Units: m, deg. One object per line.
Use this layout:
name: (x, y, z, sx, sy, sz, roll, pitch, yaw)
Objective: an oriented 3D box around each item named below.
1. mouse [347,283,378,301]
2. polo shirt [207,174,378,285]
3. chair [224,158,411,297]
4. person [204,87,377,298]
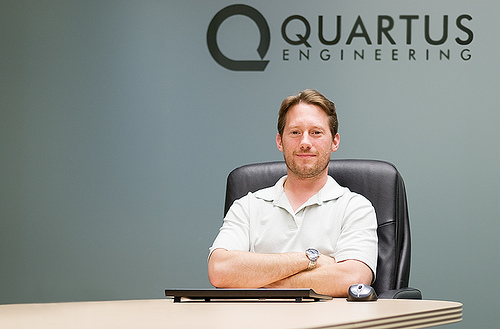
mouse: (0.494, 0.565, 2.164, 0.128, 0.068, 0.079, -1, -3, 17)
polo shirt: (0.307, 0.383, 2.961, 0.780, 0.963, 0.522, 1, -25, 14)
chair: (0.468, 0.499, 3.246, 0.753, 1.165, 0.955, -4, -16, 13)
person: (0.227, 0.249, 2.718, 0.922, 1.363, 0.818, 2, -1, 3)
